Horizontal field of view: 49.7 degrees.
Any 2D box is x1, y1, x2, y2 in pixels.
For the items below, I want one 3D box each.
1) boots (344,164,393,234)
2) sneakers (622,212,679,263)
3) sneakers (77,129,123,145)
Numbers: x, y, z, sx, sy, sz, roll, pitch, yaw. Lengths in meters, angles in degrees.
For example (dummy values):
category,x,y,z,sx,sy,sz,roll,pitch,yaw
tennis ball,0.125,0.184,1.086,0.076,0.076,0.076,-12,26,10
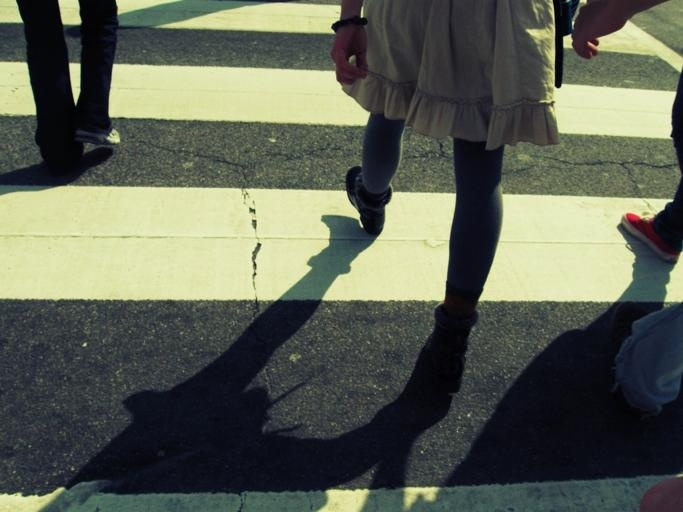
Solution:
category,x,y,z,sx,sy,sz,roll,pitch,yaw
boots,0.154,-0.317,4.479,0.186,0.329,0.519,-3,73,-5
sneakers,1.909,-0.124,4.656,0.144,0.168,0.415,8,33,-35
sneakers,-1.605,-0.756,4.902,0.266,0.116,0.096,-21,71,-48
